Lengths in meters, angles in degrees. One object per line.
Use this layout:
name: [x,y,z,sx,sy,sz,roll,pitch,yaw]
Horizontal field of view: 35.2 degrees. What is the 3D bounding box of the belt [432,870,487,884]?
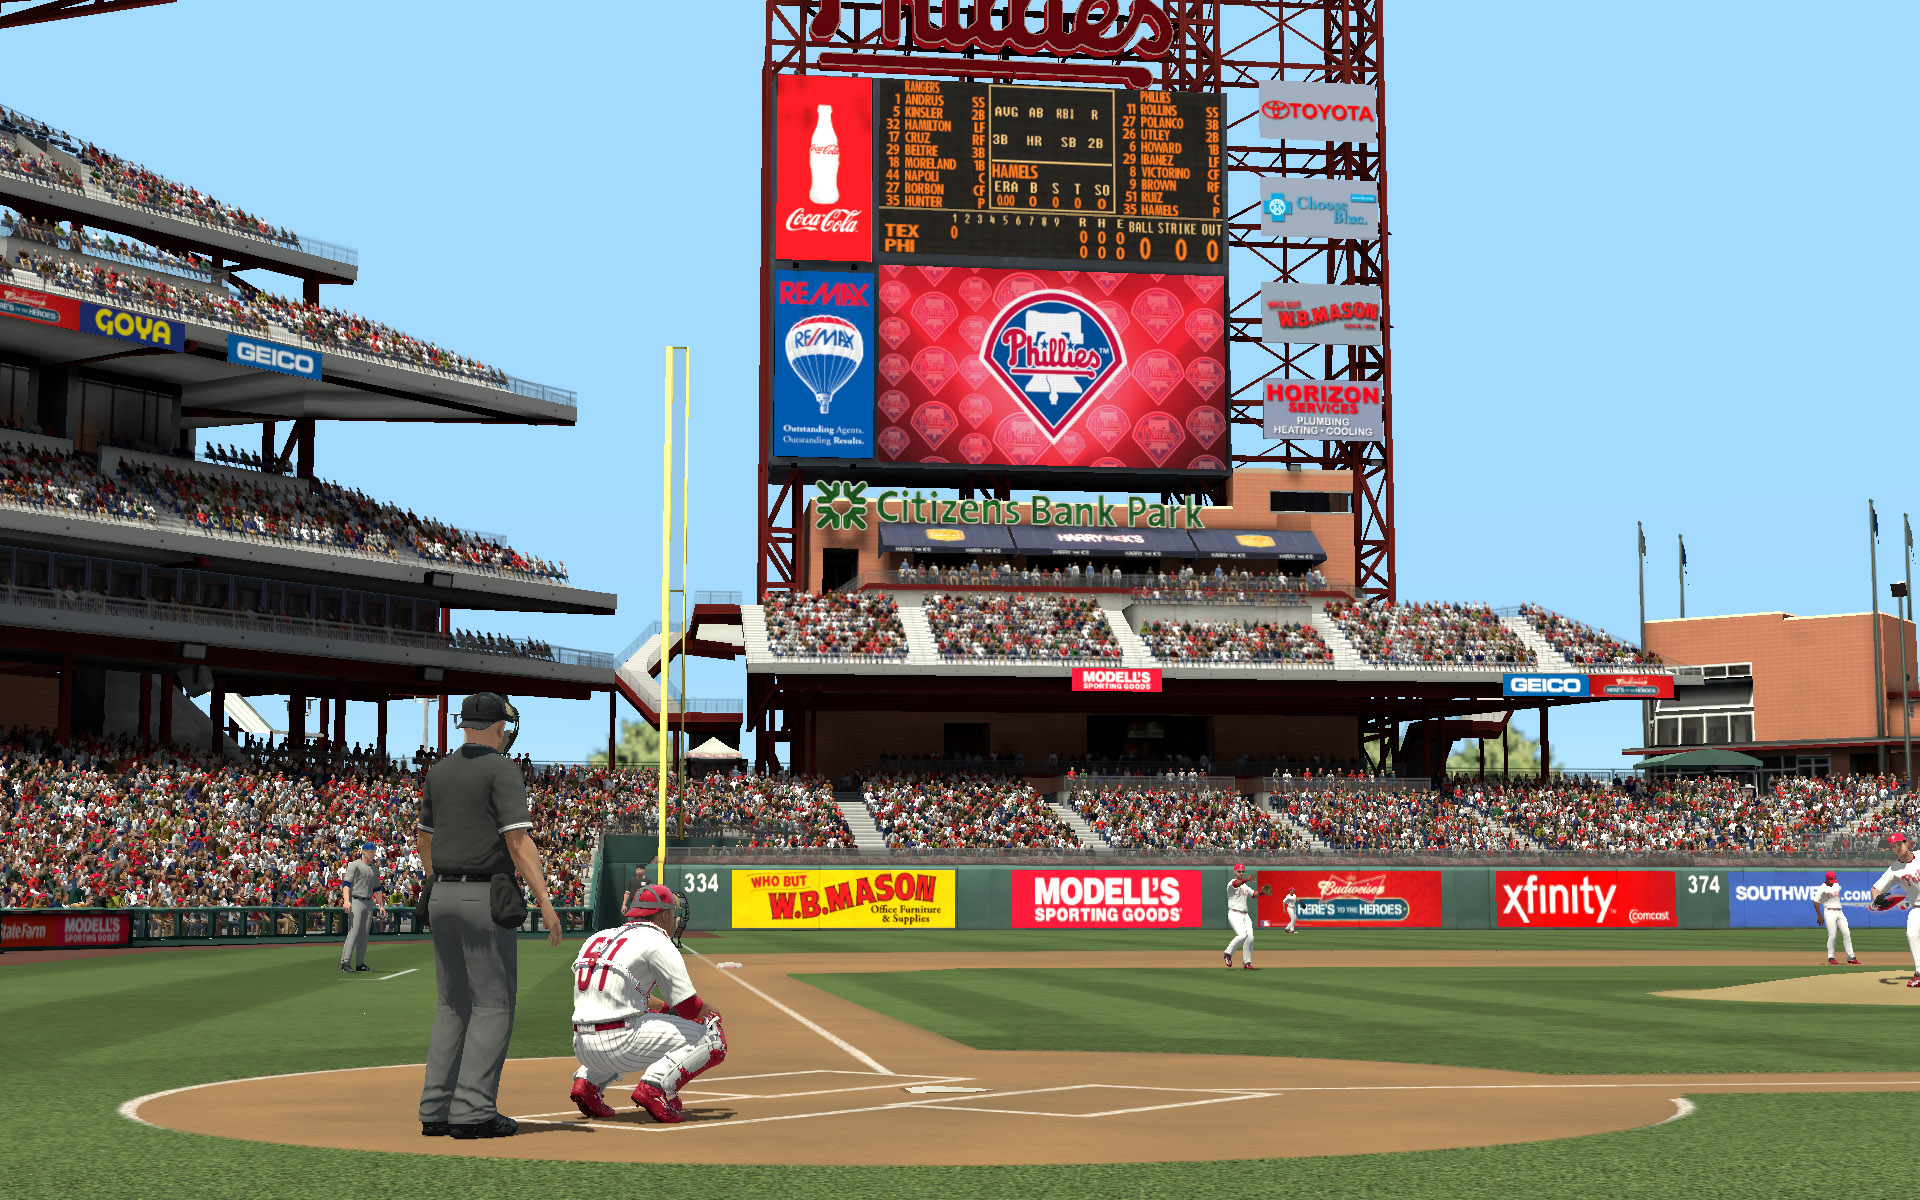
belt: [-9.664,5.308,58.170,0.993,0.210,0.119,1,9,0]
